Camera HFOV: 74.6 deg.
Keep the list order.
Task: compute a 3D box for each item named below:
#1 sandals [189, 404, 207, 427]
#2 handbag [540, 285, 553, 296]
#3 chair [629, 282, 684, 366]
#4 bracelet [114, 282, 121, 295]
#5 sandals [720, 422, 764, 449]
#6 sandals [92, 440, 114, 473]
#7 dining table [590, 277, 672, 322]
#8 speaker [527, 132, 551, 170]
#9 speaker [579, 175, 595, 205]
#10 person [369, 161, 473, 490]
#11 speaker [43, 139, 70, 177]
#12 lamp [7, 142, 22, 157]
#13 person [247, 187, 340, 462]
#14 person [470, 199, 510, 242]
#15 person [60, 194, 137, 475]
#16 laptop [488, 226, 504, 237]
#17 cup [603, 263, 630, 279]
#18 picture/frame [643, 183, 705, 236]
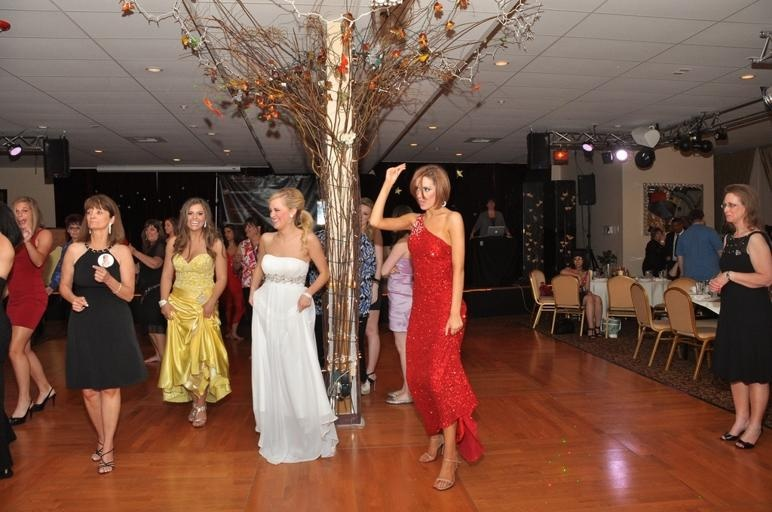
[{"bbox_3d":[-1.877,1.609,5.053,0.130,0.089,0.240,2,-8,-7],"label":"sandals"},{"bbox_3d":[3.119,0.682,9.878,0.219,0.134,0.122,-3,5,-12],"label":"handbag"},{"bbox_3d":[3.765,0.907,6.975,0.628,1.076,0.590,-3,2,4],"label":"chair"},{"bbox_3d":[-2.258,0.281,4.270,0.070,0.072,0.068,5,7,-2],"label":"bracelet"},{"bbox_3d":[3.266,1.654,4.637,0.395,0.057,0.229,-1,-6,-34],"label":"sandals"},{"bbox_3d":[-2.480,1.765,4.421,0.123,0.148,0.362,5,-9,-33],"label":"sandals"},{"bbox_3d":[4.237,0.789,8.443,0.880,0.557,0.859,-2,3,-6],"label":"dining table"},{"bbox_3d":[2.839,-1.958,9.417,0.415,0.649,0.314,1,9,8],"label":"speaker"},{"bbox_3d":[4.699,-1.547,11.856,0.377,0.687,0.218,3,9,23],"label":"speaker"},{"bbox_3d":[0.383,0.534,4.271,0.541,2.592,0.827,-6,10,-33],"label":"person"},{"bbox_3d":[-6.093,-1.844,9.357,0.407,0.739,0.535,-6,10,-33],"label":"speaker"},{"bbox_3d":[-6.788,-1.925,9.230,0.227,0.217,0.283,15,13,-5],"label":"lamp"},{"bbox_3d":[-0.839,0.592,4.497,0.812,2.358,0.647,0,9,6],"label":"person"},{"bbox_3d":[2.823,-0.976,13.805,1.029,0.551,1.662,3,49,4],"label":"person"},{"bbox_3d":[-2.432,0.657,4.365,0.626,2.334,0.518,-4,9,-22],"label":"person"},{"bbox_3d":[2.946,-0.664,13.489,0.442,0.240,0.240,0,8,4],"label":"laptop"},{"bbox_3d":[4.189,0.277,9.251,0.222,0.352,0.476,-3,6,-29],"label":"cup"},{"bbox_3d":[5.953,-0.969,10.628,1.348,1.046,0.058,1,0,-8],"label":"picture/frame"}]
